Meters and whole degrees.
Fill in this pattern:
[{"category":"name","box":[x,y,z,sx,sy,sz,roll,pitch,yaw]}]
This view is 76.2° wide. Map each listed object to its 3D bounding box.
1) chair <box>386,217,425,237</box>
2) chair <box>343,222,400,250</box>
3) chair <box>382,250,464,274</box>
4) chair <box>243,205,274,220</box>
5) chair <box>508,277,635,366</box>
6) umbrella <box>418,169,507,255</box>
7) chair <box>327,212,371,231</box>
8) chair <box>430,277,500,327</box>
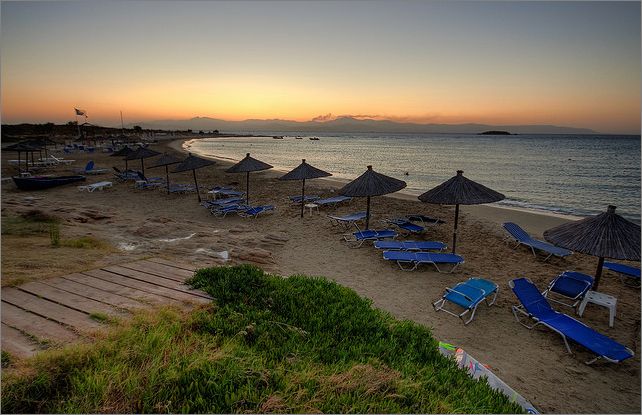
[{"category":"chair","box":[3.211,0.718,15.249,0.796,0.296,1.260,-5,9,-22]},{"category":"chair","box":[1.781,0.998,14.166,1.817,0.511,0.709,-4,16,-4]},{"category":"chair","box":[3.172,1.626,12.461,2.352,0.573,0.924,1,13,4]},{"category":"chair","box":[-2.560,0.165,16.980,0.624,0.250,1.179,6,8,34]},{"category":"chair","box":[6.037,2.633,10.049,1.344,1.010,3.030,-11,13,-30]},{"category":"umbrella","box":[4.364,0.111,13.421,2.215,2.819,2.585,0,15,1]},{"category":"chair","box":[1.144,0.479,15.826,1.661,0.329,0.624,-9,23,-20]},{"category":"chair","box":[3.879,2.394,10.635,1.970,0.459,0.950,-20,23,-29]}]
